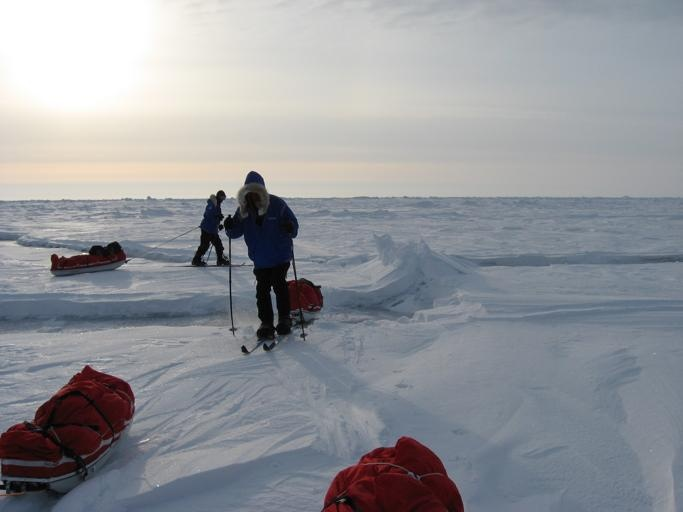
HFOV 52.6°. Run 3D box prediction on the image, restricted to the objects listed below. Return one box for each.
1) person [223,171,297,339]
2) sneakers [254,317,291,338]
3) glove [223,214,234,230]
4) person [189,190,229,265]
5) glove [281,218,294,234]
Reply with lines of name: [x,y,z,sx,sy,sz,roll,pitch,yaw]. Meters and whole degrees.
person: [-0.925,0.000,8.371,0.841,2.046,0.519,-4,11,-4]
sneakers: [-0.814,0.910,8.597,0.512,0.208,0.179,-4,1,-34]
glove: [-1.333,-0.395,8.209,0.123,0.178,0.231,-5,10,-9]
person: [-2.581,-0.508,13.435,0.717,1.534,1.451,-5,11,-12]
glove: [-0.619,-0.342,8.176,0.153,0.171,0.122,-8,11,-25]
